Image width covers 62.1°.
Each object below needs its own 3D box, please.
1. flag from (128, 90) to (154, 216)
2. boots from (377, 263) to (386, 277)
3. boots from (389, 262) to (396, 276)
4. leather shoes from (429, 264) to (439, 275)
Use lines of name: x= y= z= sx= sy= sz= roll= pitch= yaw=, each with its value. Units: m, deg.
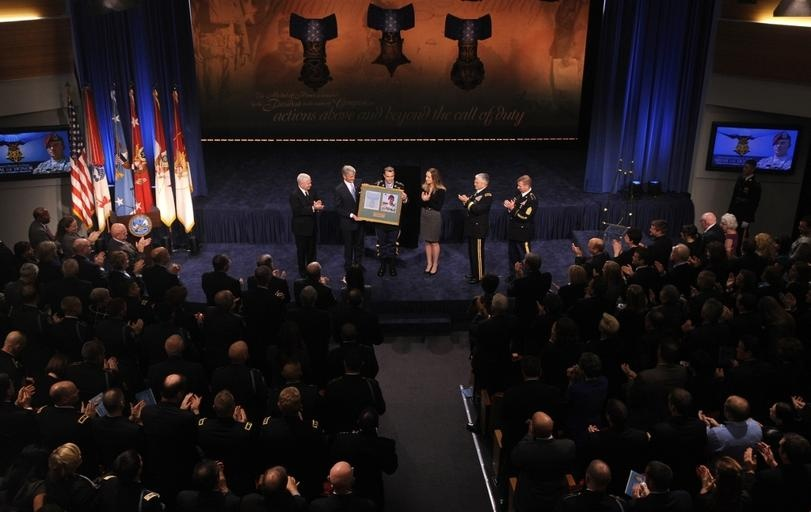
flag: x=-4.995 y=-2.039 z=12.739 sx=0.362 sy=2.340 sz=0.696 roll=-3 pitch=10 yaw=-20
boots: x=-0.421 y=0.231 z=12.257 sx=0.110 sy=0.218 sz=0.289 roll=2 pitch=27 yaw=6
boots: x=-0.234 y=0.227 z=12.222 sx=0.097 sy=0.186 sz=0.269 roll=-1 pitch=51 yaw=-2
leather shoes: x=0.519 y=0.230 z=12.268 sx=0.076 sy=0.093 sz=0.234 roll=4 pitch=33 yaw=8
